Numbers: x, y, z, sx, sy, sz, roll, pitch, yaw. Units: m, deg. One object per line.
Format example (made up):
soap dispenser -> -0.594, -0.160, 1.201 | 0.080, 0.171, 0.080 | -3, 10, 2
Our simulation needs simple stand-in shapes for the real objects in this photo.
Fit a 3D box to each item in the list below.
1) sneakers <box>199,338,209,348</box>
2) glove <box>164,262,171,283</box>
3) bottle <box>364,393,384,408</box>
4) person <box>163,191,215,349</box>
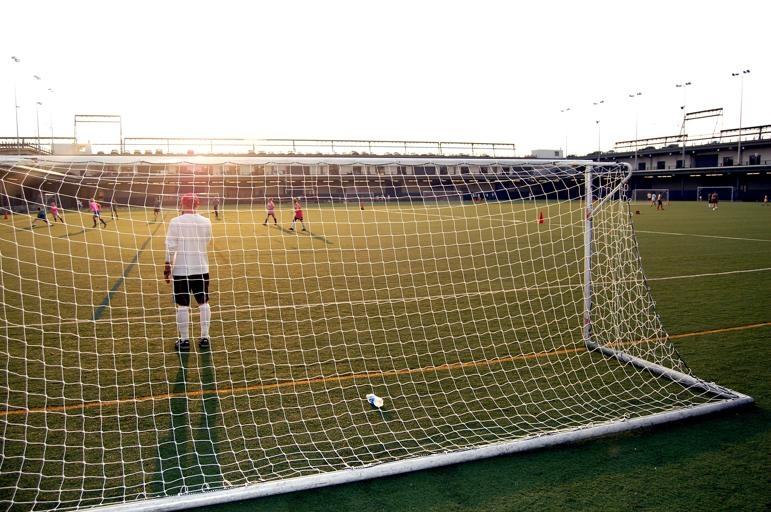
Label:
sneakers -> -2.511, 1.197, 8.307 | 0.106, 0.058, 0.164 | 2, -2, -38
glove -> -2.787, 0.196, 7.685 | 0.073, 0.277, 0.226 | -5, 12, -18
bottle -> -0.128, 1.649, 6.865 | 0.154, 0.126, 0.239 | -9, 3, -27
person -> -2.565, 0.257, 7.854 | 0.582, 2.136, 0.476 | -4, 12, -15
